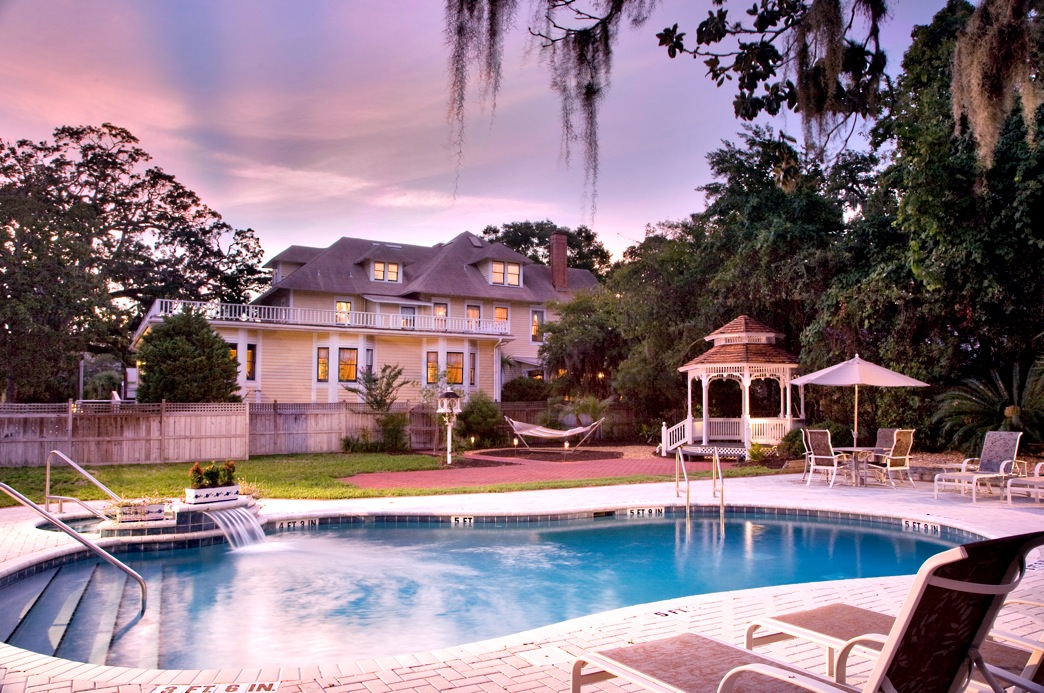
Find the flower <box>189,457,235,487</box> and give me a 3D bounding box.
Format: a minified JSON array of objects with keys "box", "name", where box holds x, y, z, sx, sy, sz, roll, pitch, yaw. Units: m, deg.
[{"box":[-6.552,2.724,18.560,0.803,0.553,1.141,-1,-6,-3],"name":"flower"}]
